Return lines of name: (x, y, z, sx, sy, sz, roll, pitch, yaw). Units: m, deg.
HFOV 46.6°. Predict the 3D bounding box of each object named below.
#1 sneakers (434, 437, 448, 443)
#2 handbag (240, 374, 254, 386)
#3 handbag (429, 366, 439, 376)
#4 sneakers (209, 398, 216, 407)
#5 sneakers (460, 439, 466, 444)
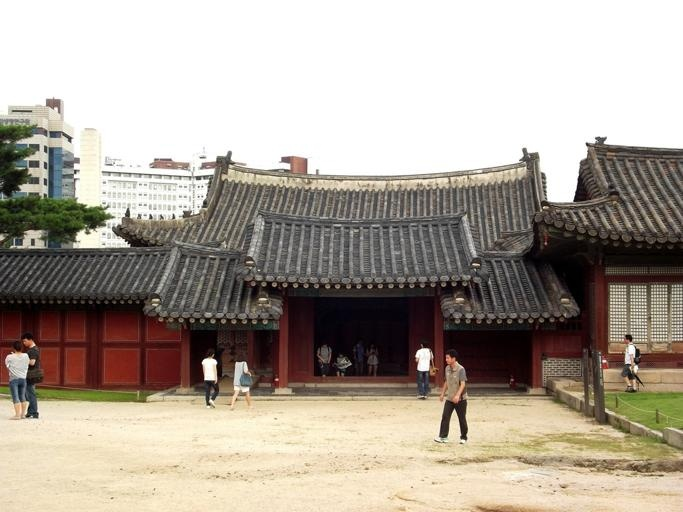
sneakers: (2.294, 4.232, 18.328, 0.264, 0.096, 0.130, 3, -1, 8)
handbag: (-2.726, 3.539, 22.835, 0.164, 0.378, 0.387, -9, -13, 39)
handbag: (2.990, 3.636, 25.135, 0.357, 0.260, 0.243, 2, -7, -8)
sneakers: (-3.821, 4.345, 23.487, 0.102, 0.258, 0.109, -11, 9, -2)
sneakers: (2.776, 4.200, 18.049, 0.104, 0.080, 0.197, -1, -13, 10)
